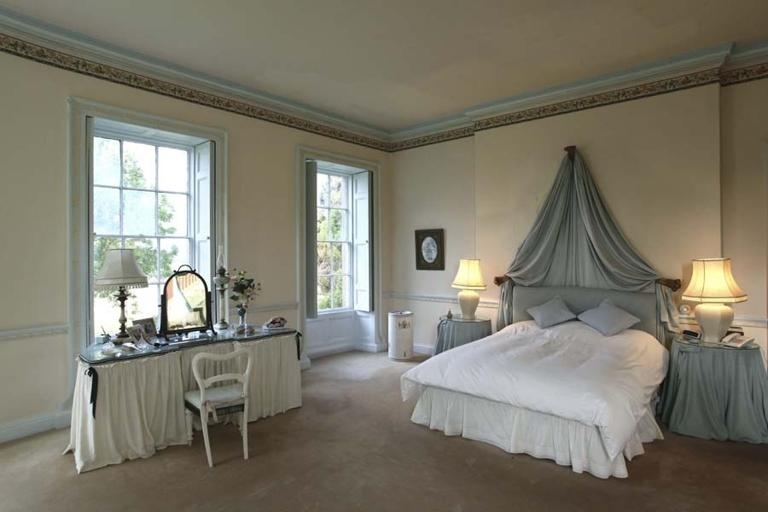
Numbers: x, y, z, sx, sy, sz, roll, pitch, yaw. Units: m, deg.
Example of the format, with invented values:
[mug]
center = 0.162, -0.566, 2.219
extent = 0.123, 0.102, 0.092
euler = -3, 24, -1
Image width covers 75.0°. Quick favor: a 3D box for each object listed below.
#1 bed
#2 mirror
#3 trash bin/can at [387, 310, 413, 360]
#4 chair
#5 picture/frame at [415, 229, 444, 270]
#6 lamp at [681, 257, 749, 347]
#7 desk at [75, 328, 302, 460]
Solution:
[bed]
center = 2.050, 1.201, 6.320
extent = 2.384, 1.451, 3.166
euler = 6, 9, 39
[mirror]
center = -2.302, 0.520, 5.784
extent = 0.595, 0.827, 0.336
euler = -3, 13, -28
[trash bin/can]
center = 0.251, 1.326, 8.242
extent = 0.456, 0.737, 0.448
euler = 1, 1, -11
[chair]
center = -1.758, 1.538, 5.345
extent = 0.720, 1.101, 0.956
euler = -3, -1, -23
[picture/frame]
center = 0.783, -0.114, 8.383
extent = 0.650, 0.795, 0.063
euler = -2, -4, 40
[lamp]
center = 3.836, 0.505, 5.804
extent = 0.460, 1.070, 0.442
euler = -3, -1, -20
[desk]
center = -2.140, 1.489, 5.833
extent = 2.373, 0.930, 0.837
euler = -5, -10, -32
